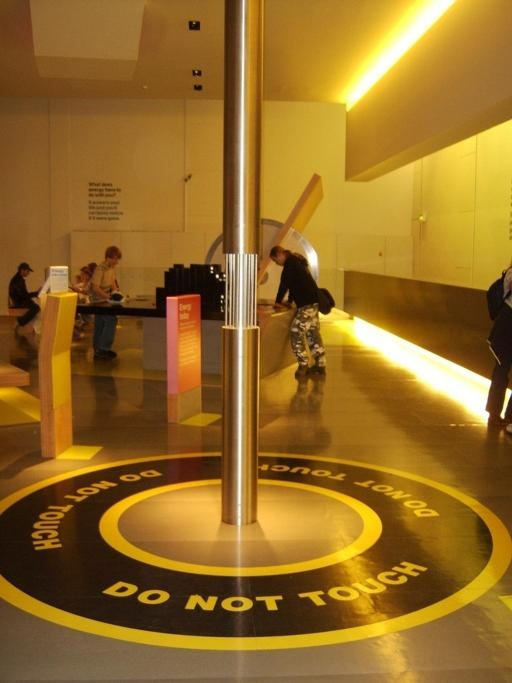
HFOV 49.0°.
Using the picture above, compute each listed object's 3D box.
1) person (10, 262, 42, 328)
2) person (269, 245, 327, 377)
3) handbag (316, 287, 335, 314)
[{"bbox_3d":[-4.791,-0.963,11.657,0.535,1.337,0.852,-1,2,-30],"label":"person"},{"bbox_3d":[0.556,-0.409,7.594,0.721,1.740,0.471,0,2,5],"label":"person"},{"bbox_3d":[0.968,-0.583,7.796,0.268,0.385,0.291,-5,1,-7],"label":"handbag"}]
